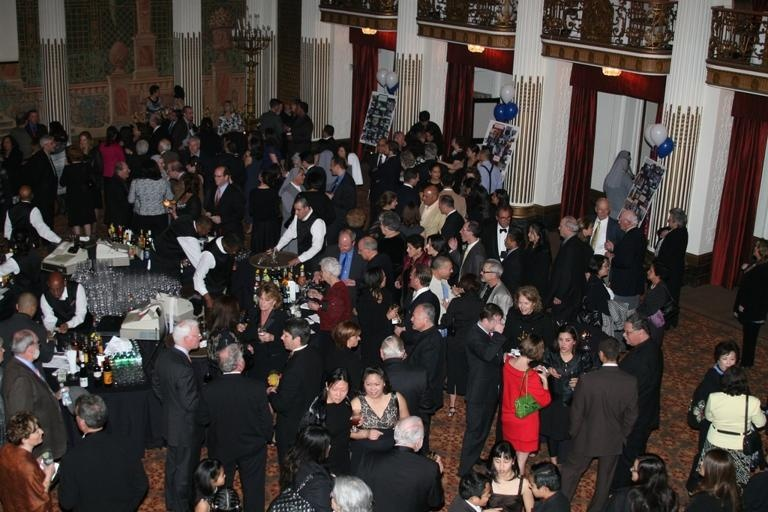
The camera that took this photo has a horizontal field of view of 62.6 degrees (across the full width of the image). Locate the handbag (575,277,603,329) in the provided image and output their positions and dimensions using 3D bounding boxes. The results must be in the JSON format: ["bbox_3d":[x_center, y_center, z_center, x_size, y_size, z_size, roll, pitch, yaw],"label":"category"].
[{"bbox_3d":[2.660,0.615,8.250,0.323,0.693,0.281,-11,30,-10],"label":"handbag"}]

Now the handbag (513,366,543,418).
[{"bbox_3d":[1.478,1.389,6.464,0.363,0.468,0.117,-7,7,-33],"label":"handbag"}]

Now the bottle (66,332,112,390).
[{"bbox_3d":[-3.234,1.146,6.915,0.409,0.476,0.680,-4,11,-40],"label":"bottle"}]

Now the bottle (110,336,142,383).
[{"bbox_3d":[-2.831,1.179,6.988,0.332,0.406,0.378,-2,10,-32],"label":"bottle"}]

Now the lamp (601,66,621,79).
[{"bbox_3d":[4.210,-3.452,11.866,0.436,0.184,0.240,12,12,44],"label":"lamp"}]

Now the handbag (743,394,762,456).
[{"bbox_3d":[3.717,1.708,6.371,0.306,0.630,0.101,-2,9,-29],"label":"handbag"}]

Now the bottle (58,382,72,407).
[{"bbox_3d":[-3.307,1.466,6.579,0.102,0.199,0.190,-3,10,-34],"label":"bottle"}]

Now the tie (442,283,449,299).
[{"bbox_3d":[0.761,0.451,7.836,0.037,0.175,0.112,-2,2,41],"label":"tie"}]

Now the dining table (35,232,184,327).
[{"bbox_3d":[-3.449,0.278,8.150,1.888,1.268,0.621,6,7,-12],"label":"dining table"}]
